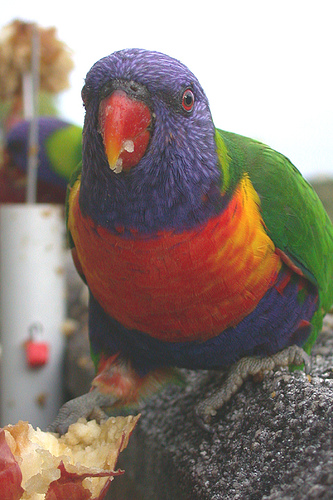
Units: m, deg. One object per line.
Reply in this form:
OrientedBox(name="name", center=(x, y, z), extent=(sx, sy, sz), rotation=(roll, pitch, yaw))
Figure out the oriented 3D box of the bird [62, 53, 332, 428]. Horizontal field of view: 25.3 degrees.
OrientedBox(name="bird", center=(0.049, -0.026, 1.125), extent=(0.367, 0.447, 0.579), rotation=(-2, -1, 24))
